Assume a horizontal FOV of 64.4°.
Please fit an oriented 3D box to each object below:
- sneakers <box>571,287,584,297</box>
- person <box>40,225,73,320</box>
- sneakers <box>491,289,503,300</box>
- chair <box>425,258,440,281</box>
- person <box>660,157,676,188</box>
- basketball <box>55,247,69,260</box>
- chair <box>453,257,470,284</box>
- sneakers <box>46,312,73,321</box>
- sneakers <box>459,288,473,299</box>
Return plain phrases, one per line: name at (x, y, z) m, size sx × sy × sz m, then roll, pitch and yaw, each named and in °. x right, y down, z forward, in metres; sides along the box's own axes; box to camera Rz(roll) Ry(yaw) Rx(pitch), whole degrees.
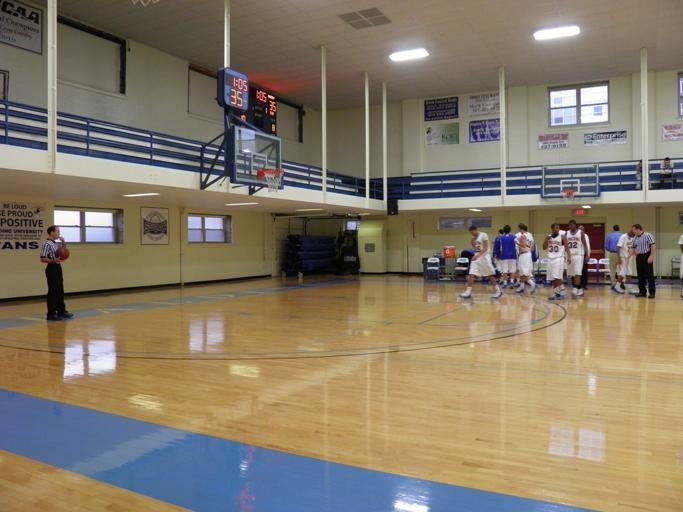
sneakers at (5.082, 0.787, 11.689) m, size 0.135 × 0.162 × 0.379 m, roll -2°, pitch -1°, yaw 34°
person at (-4.726, 0.273, 9.002) m, size 0.401 × 1.551 × 0.538 m, roll -3°, pitch 3°, yaw -27°
sneakers at (3.314, 0.805, 11.586) m, size 0.148 × 0.183 × 0.439 m, roll -32°, pitch -11°, yaw 1°
chair at (2.731, 0.386, 16.349) m, size 0.410 × 0.636 × 0.477 m, roll -1°, pitch 3°, yaw 12°
person at (8.319, -2.117, 13.870) m, size 0.293 × 0.861 × 1.036 m, roll 0°, pitch 3°, yaw 31°
basketball at (-4.538, -0.033, 8.893) m, size 0.189 × 0.260 × 0.193 m, roll 5°, pitch 2°, yaw 4°
chair at (3.654, 0.390, 16.490) m, size 0.559 × 0.971 × 0.739 m, roll 0°, pitch 1°, yaw 26°
sneakers at (-4.660, 0.997, 8.967) m, size 0.358 × 0.155 × 0.121 m, roll -1°, pitch 1°, yaw -1°
sneakers at (2.610, 0.778, 11.418) m, size 0.240 × 0.214 × 0.381 m, roll -2°, pitch 2°, yaw 8°
